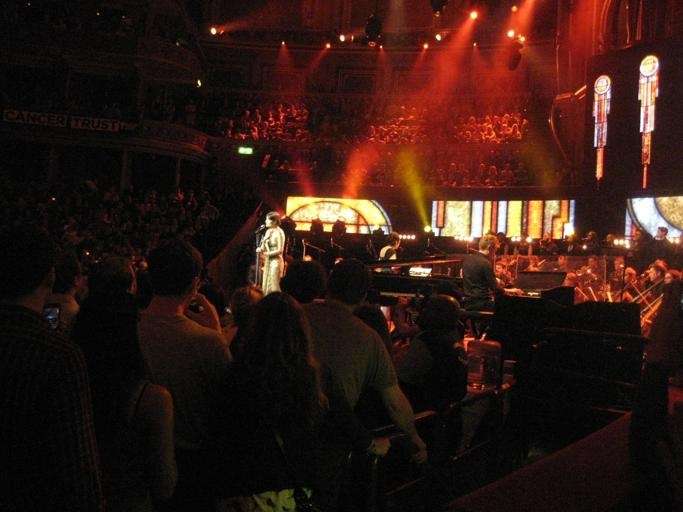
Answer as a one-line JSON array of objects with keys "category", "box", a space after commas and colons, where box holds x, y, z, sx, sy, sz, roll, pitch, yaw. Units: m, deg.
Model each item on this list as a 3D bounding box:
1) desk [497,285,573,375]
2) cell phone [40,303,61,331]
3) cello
[{"category": "desk", "box": [1.705, 0.677, 5.641, 0.869, 0.859, 0.472, -1, 5, -9]}, {"category": "cell phone", "box": [-1.917, 0.391, 4.239, 0.108, 0.138, 0.153, 6, 1, -24]}, {"category": "cello", "box": [3.205, 0.543, 7.289, 0.938, 0.232, 0.497, -14, 4, -6]}]
